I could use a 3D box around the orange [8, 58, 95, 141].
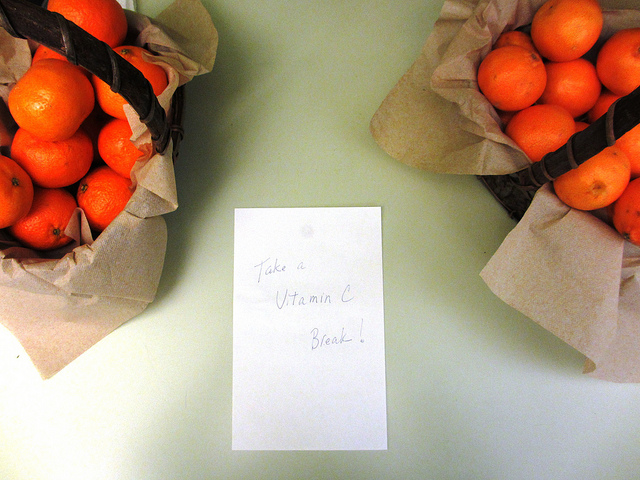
[{"bbox_3d":[-0.304,-0.160,0.733,0.088,0.086,0.089,-2,56,-1],"label":"orange"}]

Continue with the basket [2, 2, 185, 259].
[{"bbox_3d":[-0.264,-0.118,0.739,0.232,0.108,0.275,19,102,-5],"label":"basket"}]

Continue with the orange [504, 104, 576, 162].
[{"bbox_3d":[0.269,-0.134,0.724,0.078,0.064,0.064,9,97,12],"label":"orange"}]

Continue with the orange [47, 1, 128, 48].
[{"bbox_3d":[-0.276,-0.261,0.721,0.076,0.065,0.065,-17,57,-41],"label":"orange"}]

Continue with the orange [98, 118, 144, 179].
[{"bbox_3d":[-0.229,-0.111,0.716,0.048,0.031,0.063,1,99,23],"label":"orange"}]

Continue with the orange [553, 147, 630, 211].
[{"bbox_3d":[0.306,-0.066,0.677,0.065,0.084,0.076,3,64,9],"label":"orange"}]

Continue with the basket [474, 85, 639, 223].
[{"bbox_3d":[0.282,-0.086,0.723,0.114,0.228,0.078,-22,85,-4],"label":"basket"}]
